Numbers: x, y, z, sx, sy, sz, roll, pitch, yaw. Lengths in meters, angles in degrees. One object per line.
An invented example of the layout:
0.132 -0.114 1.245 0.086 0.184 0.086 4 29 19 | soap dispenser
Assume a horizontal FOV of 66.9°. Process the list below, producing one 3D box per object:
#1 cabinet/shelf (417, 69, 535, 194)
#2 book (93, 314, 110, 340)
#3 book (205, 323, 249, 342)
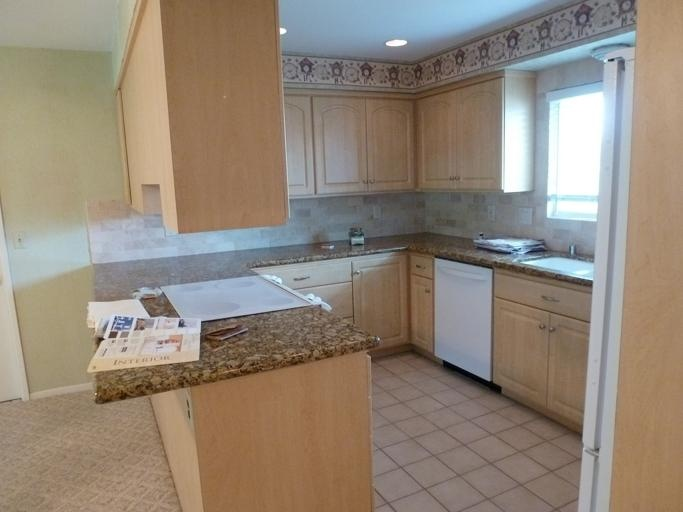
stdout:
1.102 -1.006 4.104 0.432 0.915 1.101 -5 6 -30 | cabinet/shelf
-1.051 0.317 2.245 0.101 0.106 0.025 -27 -43 29 | book
-0.490 0.332 2.220 0.077 0.025 0.121 5 13 32 | book
